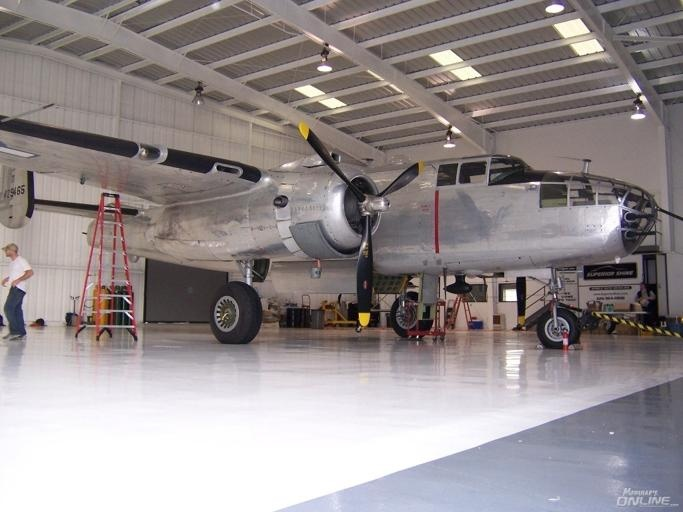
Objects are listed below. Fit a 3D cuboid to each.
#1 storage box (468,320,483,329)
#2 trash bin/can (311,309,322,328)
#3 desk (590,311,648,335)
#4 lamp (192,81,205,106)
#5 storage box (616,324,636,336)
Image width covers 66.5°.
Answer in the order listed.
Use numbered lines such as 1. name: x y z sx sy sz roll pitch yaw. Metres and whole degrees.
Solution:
1. storage box: 6.043 3.099 23.631 0.487 0.252 0.455 0 -4 7
2. trash bin/can: -1.081 2.675 22.056 0.785 0.660 0.716 0 -10 -1
3. desk: 10.014 2.399 18.681 1.554 0.307 0.903 9 -19 8
4. lamp: -5.401 -6.225 19.481 0.371 1.025 1.308 2 -4 -16
5. storage box: 10.736 2.810 19.675 0.455 0.348 0.589 -3 -1 -20
